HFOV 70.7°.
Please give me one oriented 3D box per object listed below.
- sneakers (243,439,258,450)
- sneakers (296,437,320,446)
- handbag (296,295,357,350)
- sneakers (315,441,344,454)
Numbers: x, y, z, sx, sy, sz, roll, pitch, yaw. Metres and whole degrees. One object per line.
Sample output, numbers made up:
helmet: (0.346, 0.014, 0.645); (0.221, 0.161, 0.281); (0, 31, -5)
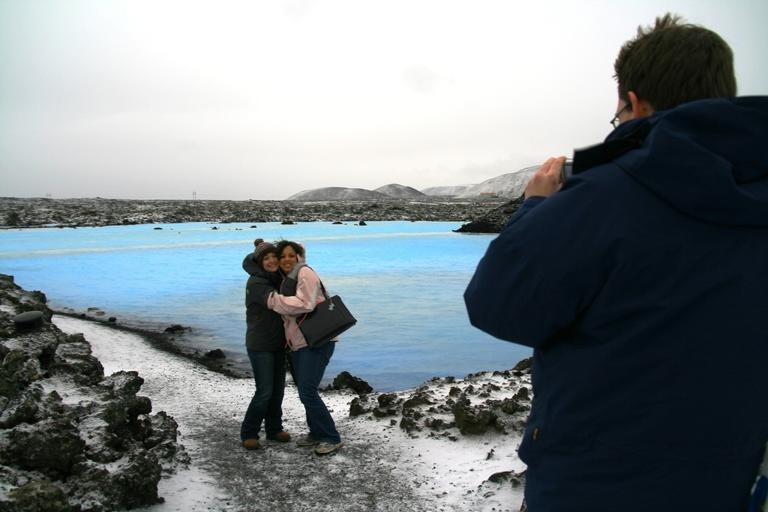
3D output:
sneakers: (-1.429, 2.113, 5.863); (0.174, 0.104, 0.096); (-2, 9, -10)
sneakers: (-0.831, 2.132, 5.997); (0.254, 0.079, 0.091); (6, 2, -7)
handbag: (-0.648, 0.701, 5.629); (0.694, 0.406, 0.201); (-11, -5, -33)
sneakers: (-0.588, 2.157, 5.875); (0.284, 0.100, 0.106); (6, -5, -35)
